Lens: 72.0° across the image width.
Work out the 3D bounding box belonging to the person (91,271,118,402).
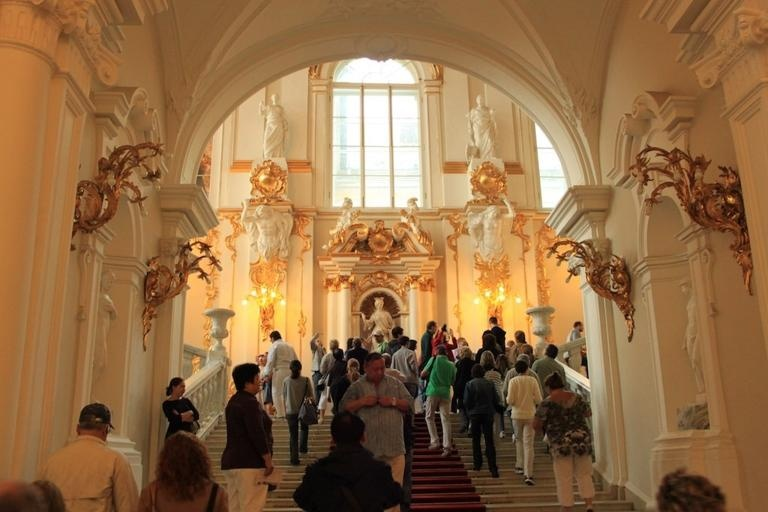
[{"bbox_3d":[-3.333,0.887,6.307,0.220,1.600,0.660,8,-20,-27],"label":"person"}]

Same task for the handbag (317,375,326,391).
[{"bbox_3d":[-1.015,2.117,8.823,0.179,0.237,0.228,5,-13,5],"label":"handbag"}]

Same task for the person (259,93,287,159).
[{"bbox_3d":[-3.315,-3.830,15.842,0.694,2.015,0.492,-1,-17,1],"label":"person"}]

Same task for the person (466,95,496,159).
[{"bbox_3d":[2.967,-3.903,16.175,0.858,2.037,0.483,-4,-18,9],"label":"person"}]

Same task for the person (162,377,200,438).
[{"bbox_3d":[-2.280,1.691,5.953,0.384,0.660,0.708,5,-18,-18],"label":"person"}]
